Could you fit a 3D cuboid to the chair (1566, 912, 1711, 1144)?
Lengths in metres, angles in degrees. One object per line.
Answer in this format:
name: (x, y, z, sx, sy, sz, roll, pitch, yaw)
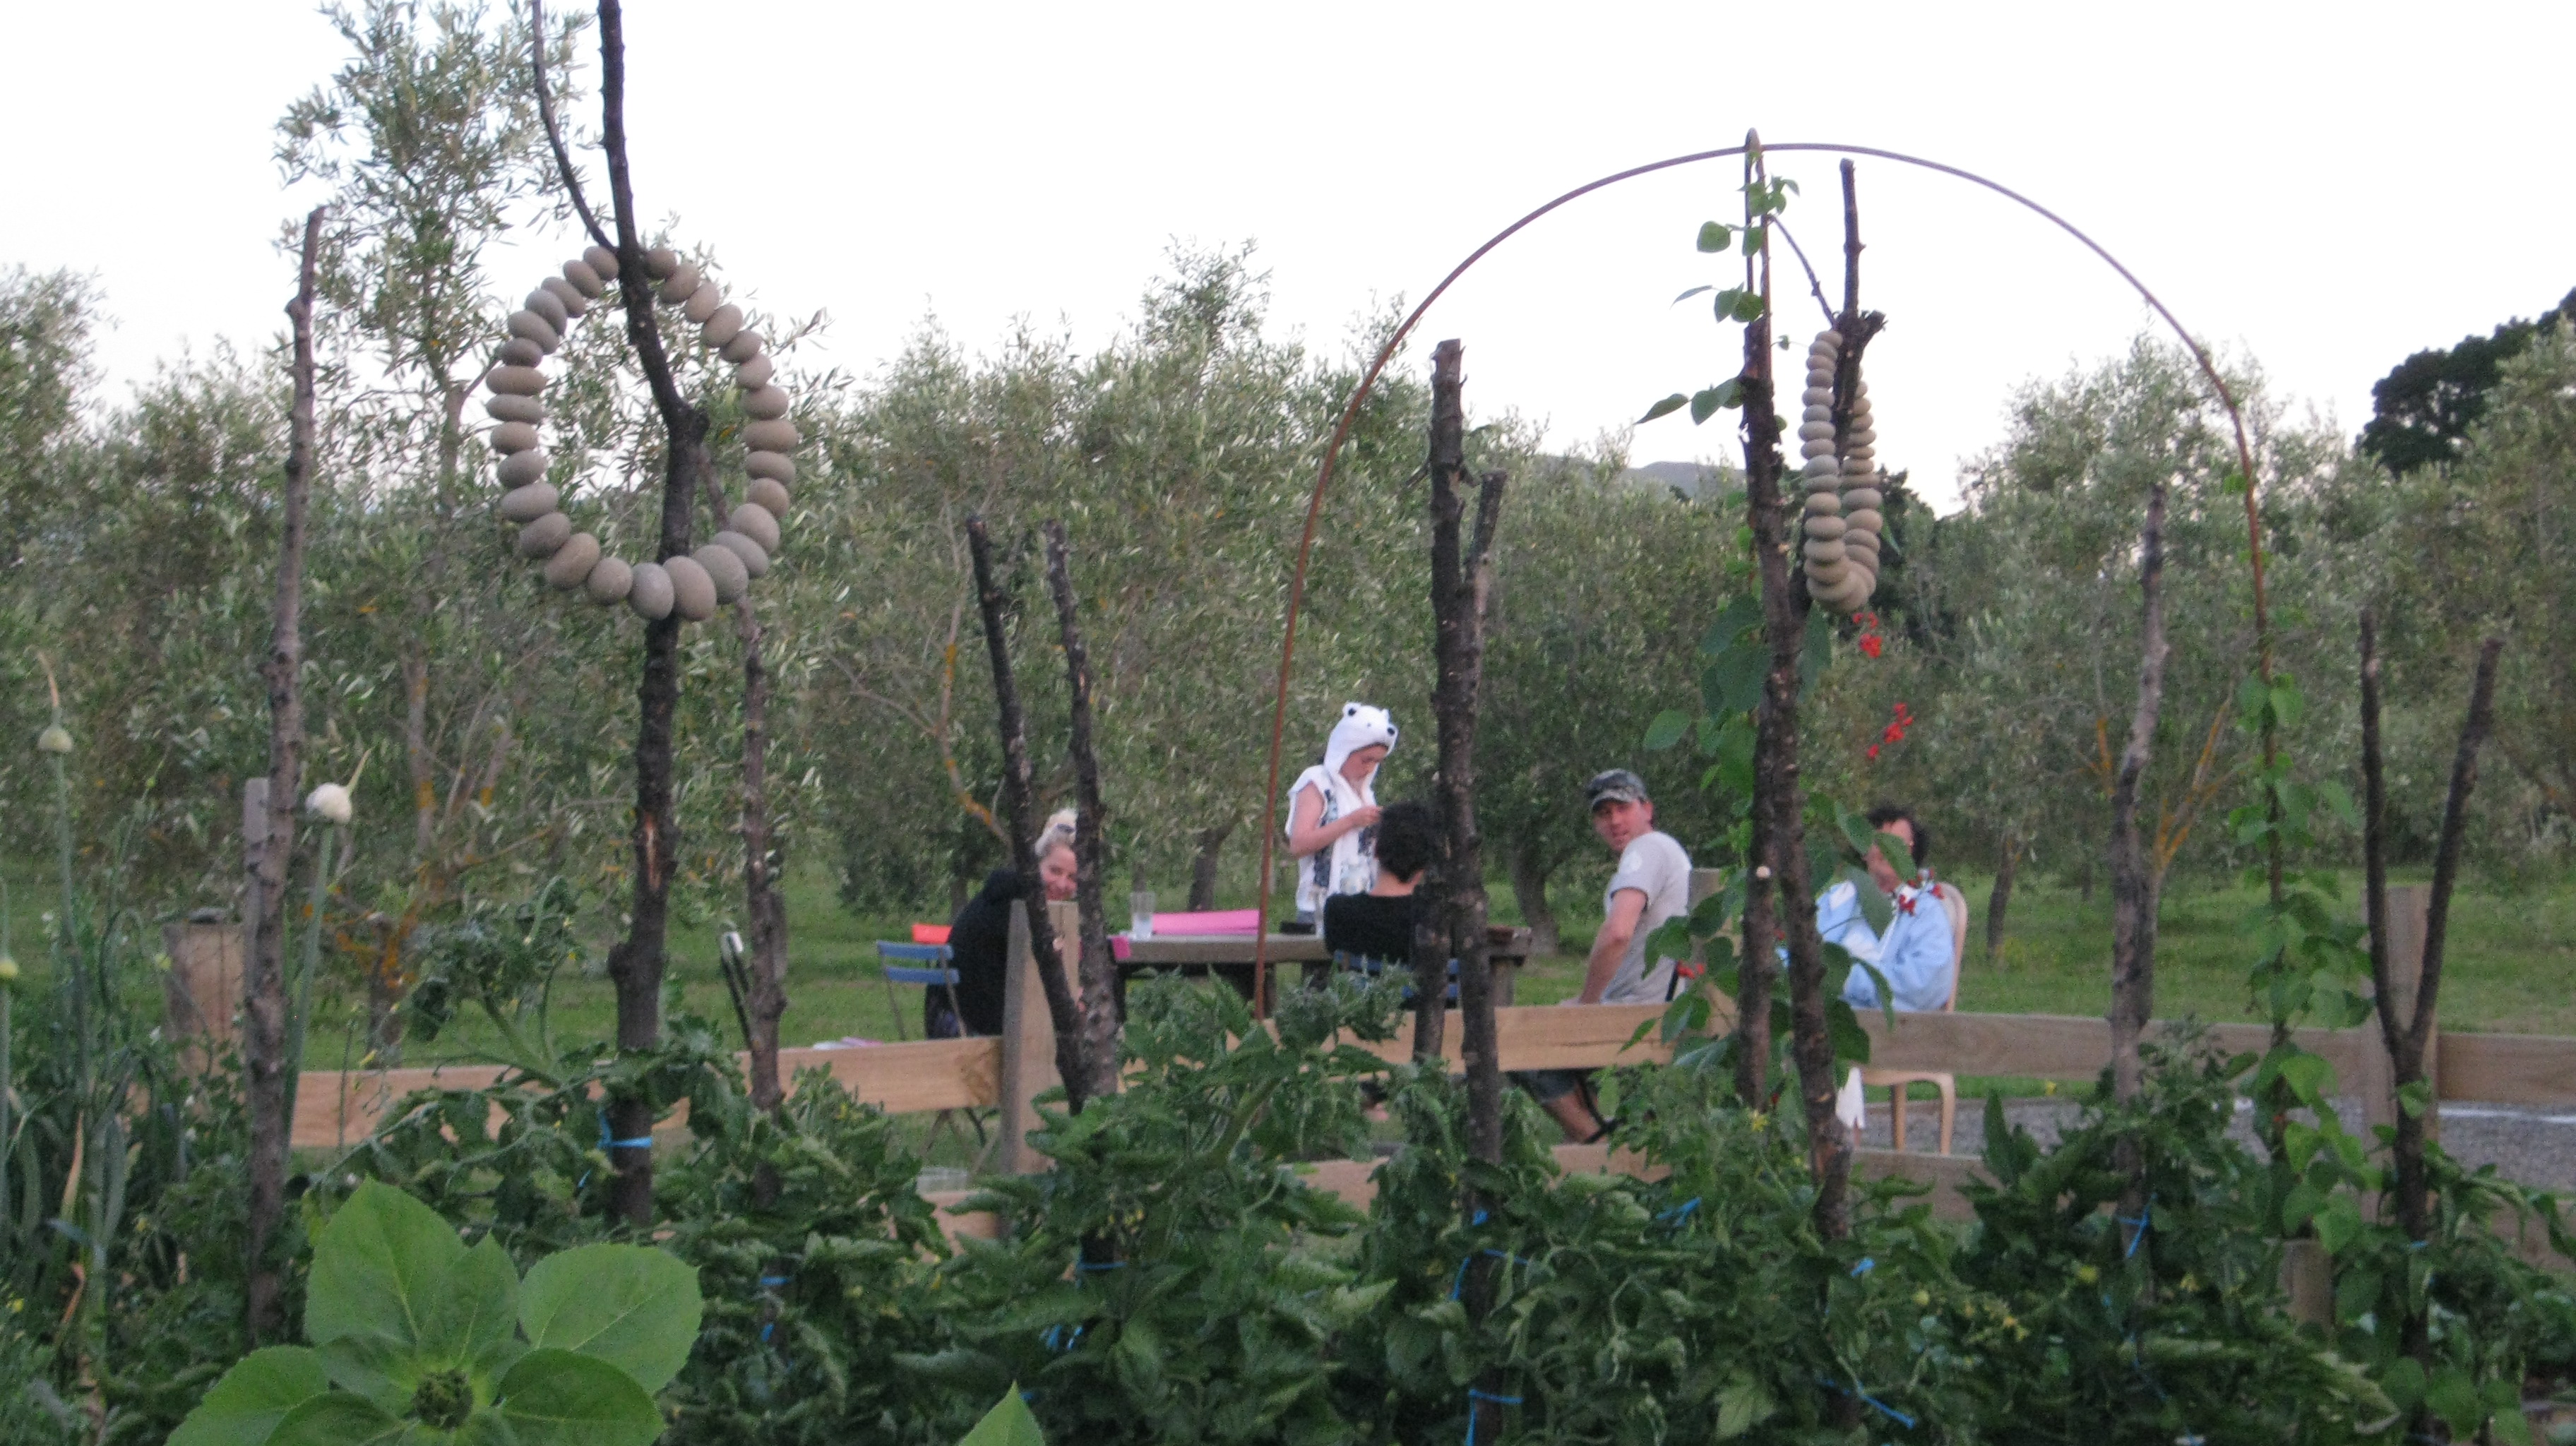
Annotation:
chair: (3.545, 3.136, 32.883, 1.205, 2.823, 1.182, 9, -18, 13)
